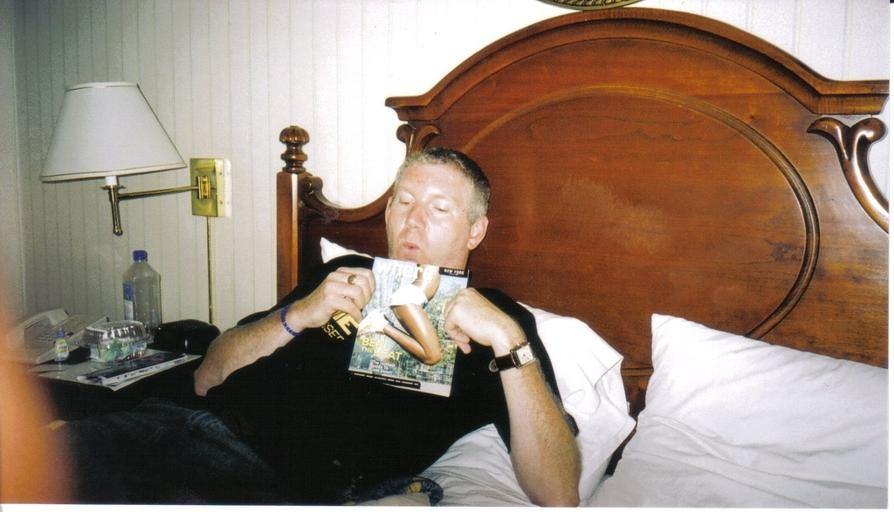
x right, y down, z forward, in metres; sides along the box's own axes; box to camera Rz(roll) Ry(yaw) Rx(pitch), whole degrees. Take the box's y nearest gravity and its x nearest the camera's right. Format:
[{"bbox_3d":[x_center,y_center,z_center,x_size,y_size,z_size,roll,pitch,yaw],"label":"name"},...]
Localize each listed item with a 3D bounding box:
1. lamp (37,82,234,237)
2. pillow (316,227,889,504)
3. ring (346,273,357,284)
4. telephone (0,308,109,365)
[{"bbox_3d":[-1.425,-0.431,2.811,0.781,0.622,0.614,-9,18,-44],"label":"lamp"},{"bbox_3d":[0.771,0.552,2.380,1.261,0.684,0.500,13,-5,0],"label":"pillow"},{"bbox_3d":[-0.362,0.082,2.317,0.035,0.023,0.033,2,-13,1],"label":"ring"},{"bbox_3d":[-1.671,0.324,2.638,0.234,0.122,0.304,15,28,23],"label":"telephone"}]
